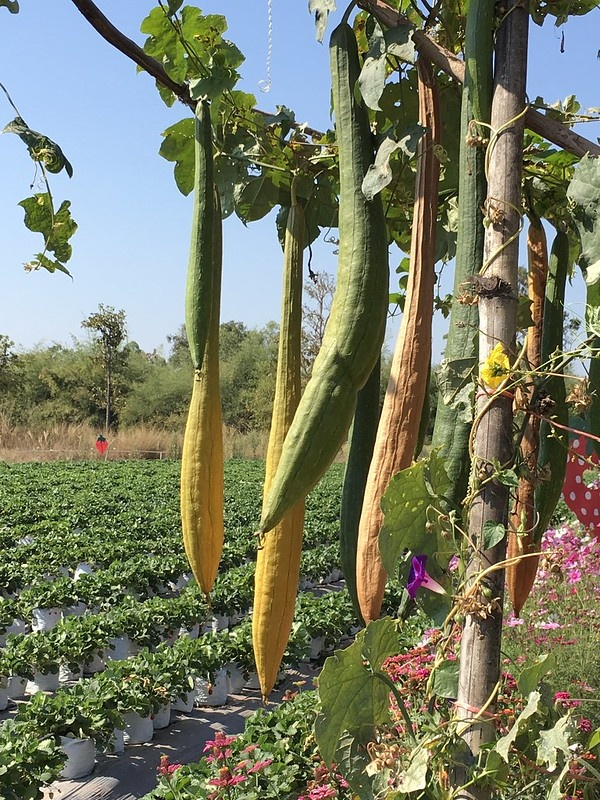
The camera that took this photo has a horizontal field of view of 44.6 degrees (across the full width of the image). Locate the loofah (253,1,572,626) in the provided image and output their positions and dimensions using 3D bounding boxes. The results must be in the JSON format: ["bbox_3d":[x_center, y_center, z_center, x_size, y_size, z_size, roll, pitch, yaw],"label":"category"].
[{"bbox_3d":[0.161,-0.323,0.980,0.179,1.178,0.210,12,-8,-24],"label":"loofah"}]

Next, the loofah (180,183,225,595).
[{"bbox_3d":[-0.151,-0.032,1.215,0.069,0.686,0.191,3,-3,-8],"label":"loofah"}]
